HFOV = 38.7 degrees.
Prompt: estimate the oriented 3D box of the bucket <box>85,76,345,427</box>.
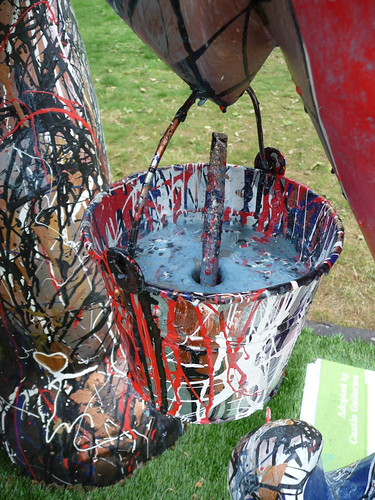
[{"bbox_3d":[0.047,0.008,1.009,0.431,0.492,0.420,2,47,-2],"label":"bucket"}]
